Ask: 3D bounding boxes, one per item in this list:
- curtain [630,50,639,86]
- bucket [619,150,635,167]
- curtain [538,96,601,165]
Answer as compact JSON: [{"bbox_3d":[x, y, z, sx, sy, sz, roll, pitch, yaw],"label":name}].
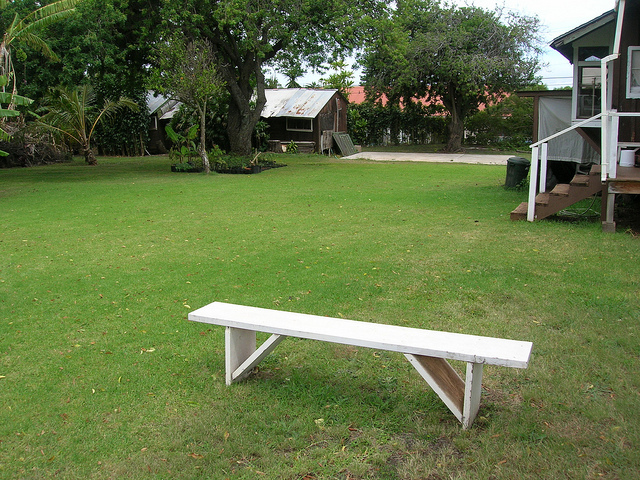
[{"bbox_3d":[7.373,-4.035,11.267,0.190,0.812,0.130,3,13,23],"label":"curtain"},{"bbox_3d":[7.046,-1.859,11.052,0.290,0.365,0.492,5,15,32],"label":"bucket"},{"bbox_3d":[7.245,-3.284,14.258,0.683,1.968,1.527,-12,15,-39],"label":"curtain"}]
